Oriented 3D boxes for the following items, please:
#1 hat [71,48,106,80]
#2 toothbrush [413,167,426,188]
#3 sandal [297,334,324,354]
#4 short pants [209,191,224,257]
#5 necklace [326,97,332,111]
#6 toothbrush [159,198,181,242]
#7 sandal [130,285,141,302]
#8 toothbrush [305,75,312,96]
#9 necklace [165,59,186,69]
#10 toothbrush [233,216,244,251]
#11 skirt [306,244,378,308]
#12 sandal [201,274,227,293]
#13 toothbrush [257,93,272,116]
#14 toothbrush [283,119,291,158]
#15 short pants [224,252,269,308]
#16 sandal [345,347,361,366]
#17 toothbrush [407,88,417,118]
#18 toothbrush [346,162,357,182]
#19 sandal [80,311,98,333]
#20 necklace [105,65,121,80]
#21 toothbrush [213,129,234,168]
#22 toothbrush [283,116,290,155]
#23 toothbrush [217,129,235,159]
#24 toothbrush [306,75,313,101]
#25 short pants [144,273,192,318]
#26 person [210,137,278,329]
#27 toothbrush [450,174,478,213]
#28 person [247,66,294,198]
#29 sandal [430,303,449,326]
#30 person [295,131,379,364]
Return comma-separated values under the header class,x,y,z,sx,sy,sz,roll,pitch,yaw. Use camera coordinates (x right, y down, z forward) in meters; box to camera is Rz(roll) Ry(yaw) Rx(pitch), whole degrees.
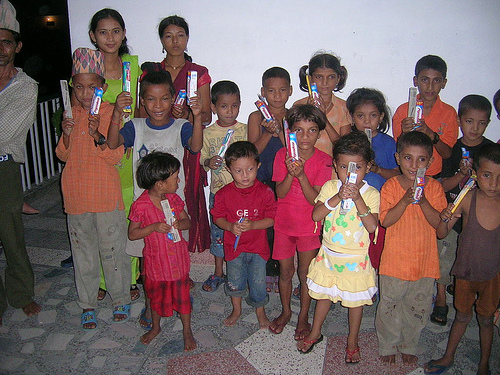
class,x,y,z,sx,sy,sz,roll,pitch,yaw
hat,-1.615,-1.230,3.917,0.315,0.258,0.344,-3,9,23
toothbrush,1.390,-0.082,3.268,0.137,0.151,0.053,-10,19,-28
sandal,0.552,1.439,3.669,0.248,0.066,0.099,-35,31,-14
short pants,-0.387,0.530,4.390,0.117,0.491,0.269,-11,19,-30
necklace,0.842,-0.880,4.235,0.022,0.101,0.093,14,22,42
toothbrush,-0.707,0.284,3.546,0.146,0.396,0.152,-8,18,-21
sandal,-1.256,1.151,4.336,0.070,0.184,0.048,-8,-19,-7
toothbrush,0.601,-1.055,4.092,0.030,0.225,0.026,-3,-15,10
necklace,-0.839,-1.392,4.492,0.163,0.173,0.012,12,-29,15
toothbrush,-0.117,0.462,3.665,0.055,0.405,0.059,15,24,15
skirt,0.850,0.749,3.582,0.614,0.575,0.424,2,2,44
sandal,-0.417,1.073,4.507,0.156,0.136,0.345,12,21,36
toothbrush,0.130,-0.887,4.066,0.059,0.355,0.053,-11,-29,-33
toothbrush,0.329,-0.439,3.514,0.054,0.321,0.079,-6,1,25
short pants,-0.030,0.833,3.877,0.452,0.593,0.239,5,16,3
sandal,0.912,1.499,3.521,0.132,0.110,0.125,4,17,16
toothbrush,1.585,-0.829,3.891,0.069,0.275,0.119,5,18,21
toothbrush,0.821,-0.126,3.239,0.065,0.152,0.059,2,17,10
sandal,-1.587,1.327,3.920,0.095,0.085,0.256,0,4,-22
necklace,-1.465,-1.238,4.275,0.165,0.140,0.101,-7,18,-20
toothbrush,-0.276,-0.396,4.052,0.086,0.391,0.046,28,4,32
toothbrush,0.328,-0.467,3.520,0.043,0.313,0.037,-3,-4,-28
toothbrush,-0.248,-0.452,4.041,0.089,0.391,0.045,19,-21,-9
toothbrush,0.601,-1.037,4.084,0.027,0.253,0.028,1,-17,-12
short pants,-0.736,0.915,3.660,0.395,0.510,0.196,-2,7,-19
person,-0.042,0.485,3.775,0.660,1.750,0.550,-2,12,-2
toothbrush,1.859,0.049,3.455,0.080,0.399,0.029,33,1,-1
person,0.328,-0.419,4.265,0.590,1.617,0.519,-2,18,9
sandal,1.900,1.277,3.987,0.092,0.074,0.269,0,24,25
person,0.790,0.541,3.503,0.652,1.940,0.522,3,17,14
